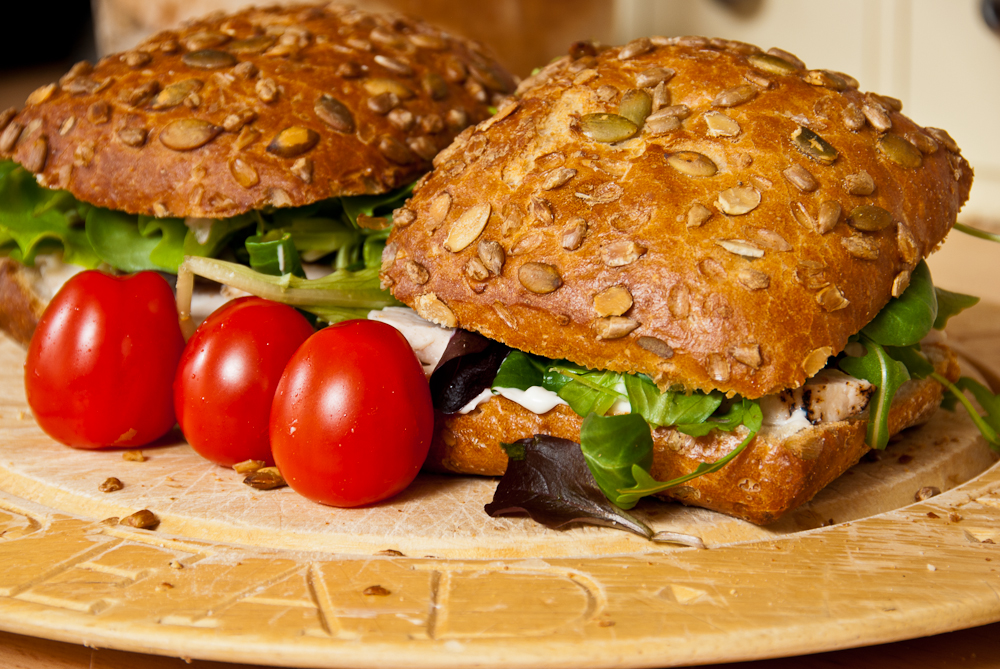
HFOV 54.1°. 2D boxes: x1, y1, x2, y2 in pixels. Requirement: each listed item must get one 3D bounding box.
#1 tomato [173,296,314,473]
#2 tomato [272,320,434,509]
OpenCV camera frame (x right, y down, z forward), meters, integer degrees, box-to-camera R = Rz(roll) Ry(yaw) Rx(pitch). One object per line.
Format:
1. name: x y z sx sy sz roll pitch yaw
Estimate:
1. tomato: -0.467 0.094 1.872 0.279 0.320 0.266 9 9 17
2. tomato: -0.262 0.146 1.759 0.300 0.342 0.280 4 8 -8
